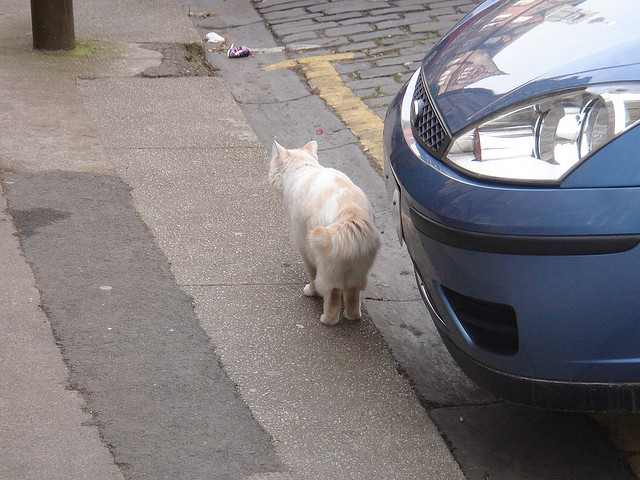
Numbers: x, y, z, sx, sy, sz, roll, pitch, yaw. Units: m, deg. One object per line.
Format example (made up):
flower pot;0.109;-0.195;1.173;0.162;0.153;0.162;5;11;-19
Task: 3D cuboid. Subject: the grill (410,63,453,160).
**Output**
grill;0.629;-0.800;4.967;0.183;0.199;0.820;17;35;-19
